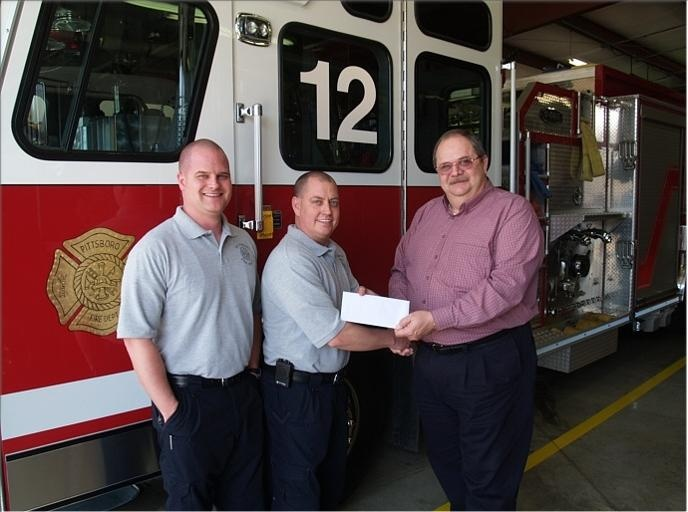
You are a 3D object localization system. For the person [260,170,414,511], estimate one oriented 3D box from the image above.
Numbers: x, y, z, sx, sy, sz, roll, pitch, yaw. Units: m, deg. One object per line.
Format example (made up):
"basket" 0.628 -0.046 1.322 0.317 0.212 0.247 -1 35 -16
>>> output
"person" -0.138 0.570 3.173 0.631 2.054 0.454 -1 10 -9

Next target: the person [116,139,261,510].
"person" -0.728 0.415 2.830 0.738 1.956 0.345 -6 11 -33
